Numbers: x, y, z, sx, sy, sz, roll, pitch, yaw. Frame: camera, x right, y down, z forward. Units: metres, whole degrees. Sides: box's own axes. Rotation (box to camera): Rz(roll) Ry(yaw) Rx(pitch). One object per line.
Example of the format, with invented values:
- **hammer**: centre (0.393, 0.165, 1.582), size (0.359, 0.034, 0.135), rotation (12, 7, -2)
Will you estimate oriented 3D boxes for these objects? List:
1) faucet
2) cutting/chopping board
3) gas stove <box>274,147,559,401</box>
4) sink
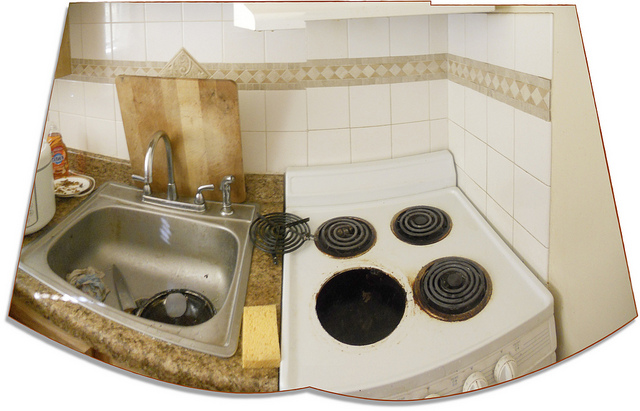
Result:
- **faucet**: centre (-0.555, -0.111, 1.572), size (0.348, 0.171, 0.303), rotation (9, -67, 14)
- **cutting/chopping board**: centre (-0.505, -0.259, 1.633), size (0.418, 0.243, 0.438), rotation (0, -59, -2)
- **gas stove**: centre (0.230, 0.208, 1.446), size (0.682, 0.713, 0.427), rotation (-8, -48, -1)
- **sink**: centre (-0.617, 0.170, 1.493), size (0.595, 0.388, 0.222), rotation (18, -39, 0)
